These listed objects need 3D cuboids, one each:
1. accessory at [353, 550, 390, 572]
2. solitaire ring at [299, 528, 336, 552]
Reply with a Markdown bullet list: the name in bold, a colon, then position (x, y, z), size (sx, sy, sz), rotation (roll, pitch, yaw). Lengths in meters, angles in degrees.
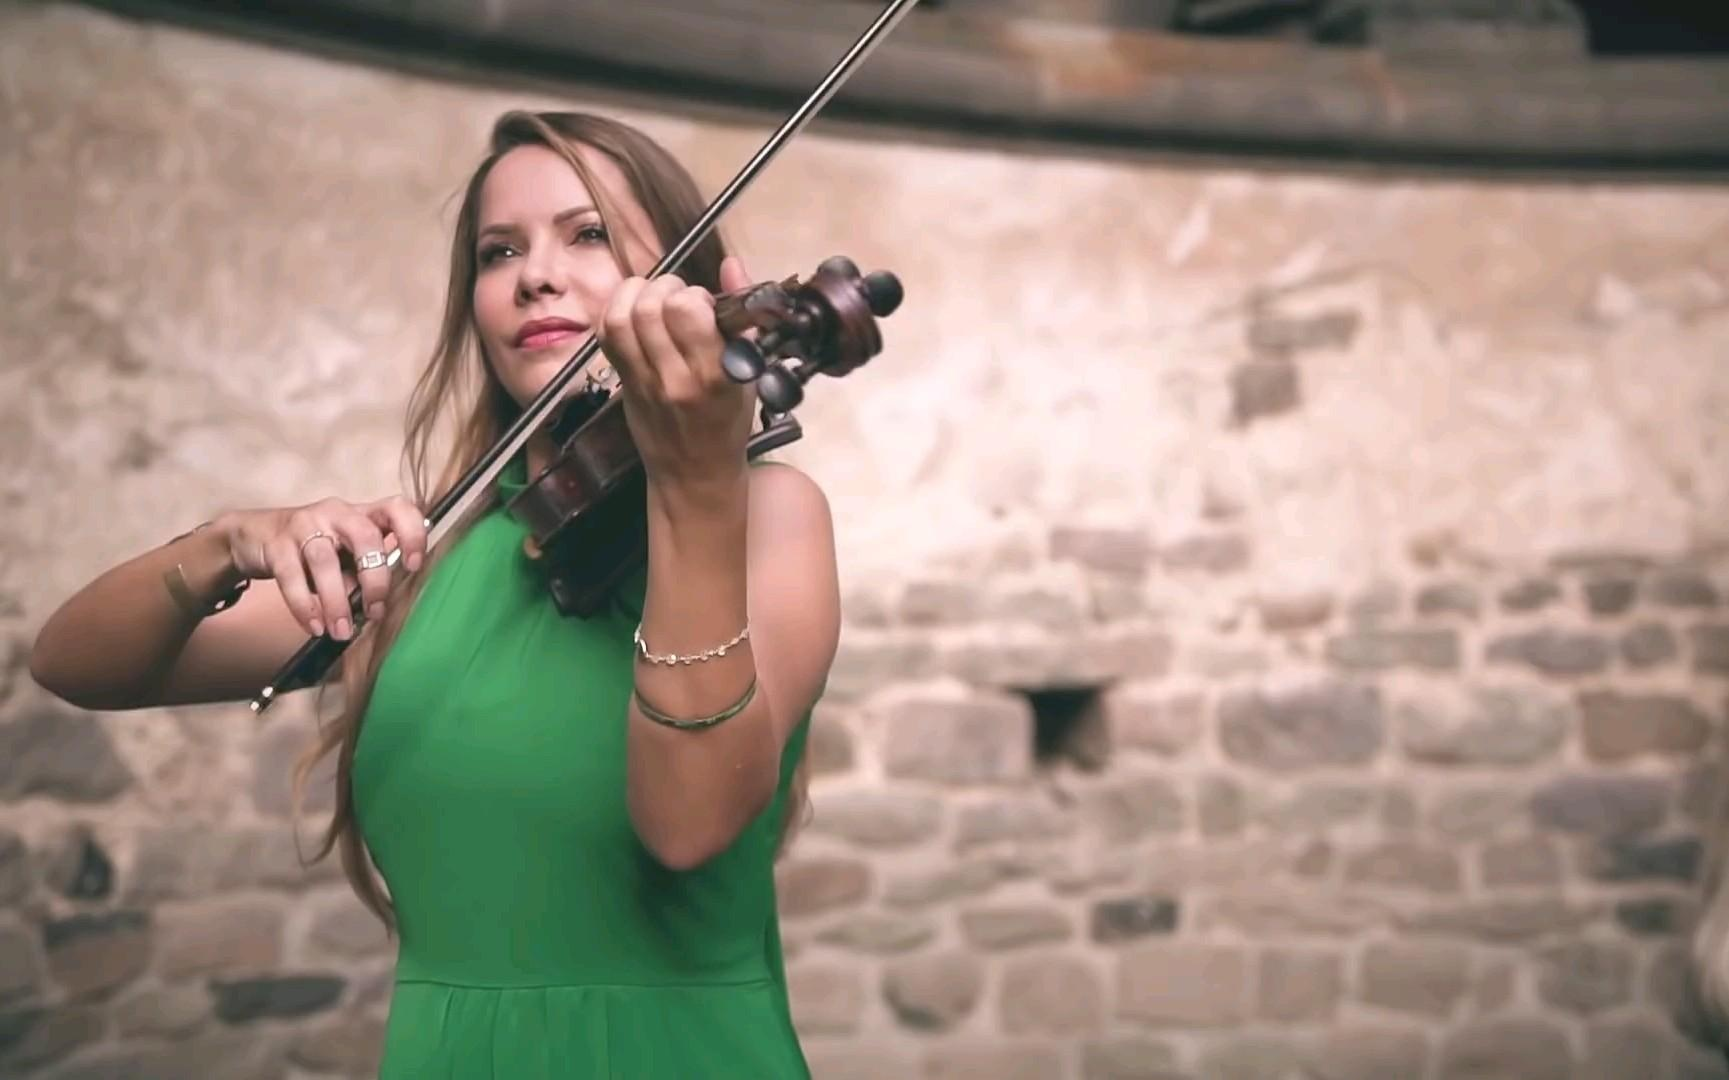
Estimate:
- **accessory**: position (-0.982, 0.040, 3.234), size (0.054, 0.015, 0.040), rotation (-19, 16, -40)
- **solitaire ring**: position (-1.093, 0.001, 3.234), size (0.046, 0.040, 0.013), rotation (-5, -18, 0)
